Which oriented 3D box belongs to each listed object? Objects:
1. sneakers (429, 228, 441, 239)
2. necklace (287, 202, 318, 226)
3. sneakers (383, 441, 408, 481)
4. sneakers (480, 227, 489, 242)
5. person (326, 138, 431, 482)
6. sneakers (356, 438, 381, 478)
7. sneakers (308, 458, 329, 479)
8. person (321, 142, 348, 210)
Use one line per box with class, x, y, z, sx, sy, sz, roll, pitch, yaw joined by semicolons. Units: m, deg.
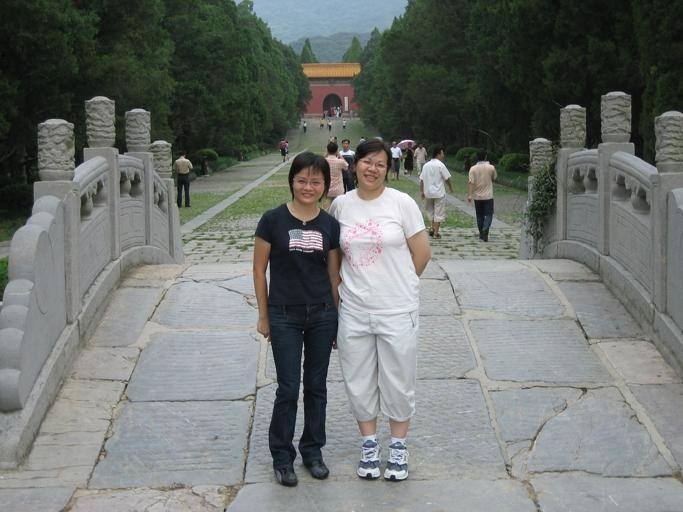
sneakers;1.847;-0.444;12.414;0.119;0.171;0.376;0;-5;2
necklace;-0.222;-0.253;3.754;0.113;0.095;0.155;2;-5;-1
sneakers;0.340;1.218;3.785;0.147;0.163;0.391;2;7;14
sneakers;2.737;-0.394;12.098;0.100;0.302;0.133;-1;36;6
person;0.242;0.311;3.730;0.570;1.972;0.451;-2;10;-2
sneakers;0.170;1.211;3.792;0.141;0.196;0.387;-1;-2;8
sneakers;-0.138;1.256;3.724;0.057;0.075;0.165;-7;3;-26
person;-0.127;-1.245;10.803;0.503;1.465;0.430;5;30;3
